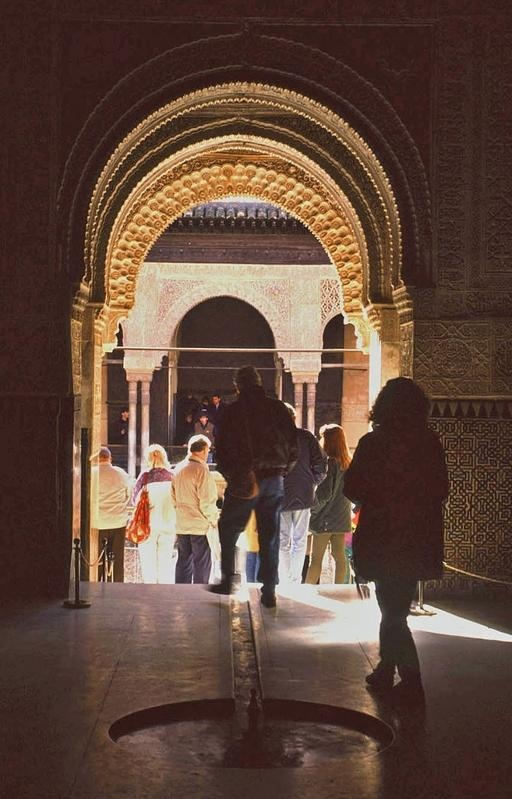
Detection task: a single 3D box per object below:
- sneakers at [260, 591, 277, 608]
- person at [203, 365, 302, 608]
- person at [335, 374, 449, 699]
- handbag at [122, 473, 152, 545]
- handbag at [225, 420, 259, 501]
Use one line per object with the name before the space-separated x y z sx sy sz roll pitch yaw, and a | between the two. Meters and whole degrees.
sneakers | 0.069 0.979 4.748 0.075 0.070 0.144 1 -6 0
person | -0.044 0.427 4.850 0.390 1.175 0.299 -1 -5 22
person | 0.513 0.483 3.517 0.375 1.141 0.214 0 -5 8
handbag | -0.712 0.698 5.955 0.137 0.381 0.245 1 -5 -6
handbag | -0.053 0.338 4.721 0.121 0.279 0.180 -1 3 -23
